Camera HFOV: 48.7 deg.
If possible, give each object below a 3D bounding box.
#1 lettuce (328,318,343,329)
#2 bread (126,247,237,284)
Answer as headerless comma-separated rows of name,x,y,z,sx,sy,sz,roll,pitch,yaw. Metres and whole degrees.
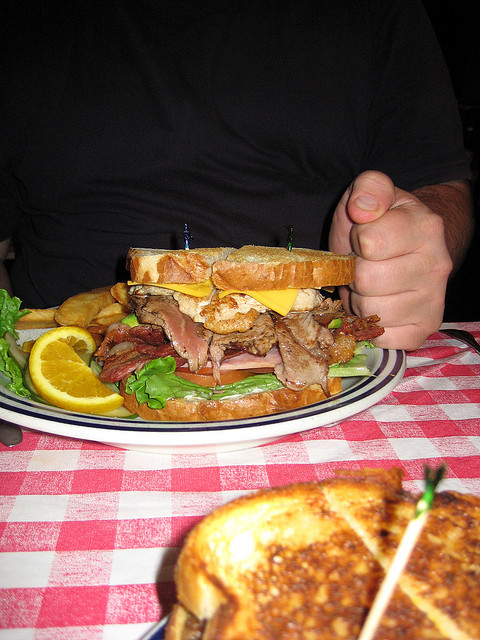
lettuce,0.303,0.009,1.688,0.036,0.021,0.035,-5,-3,0
bread,-0.225,-0.163,1.577,0.212,0.052,0.209,7,13,15
